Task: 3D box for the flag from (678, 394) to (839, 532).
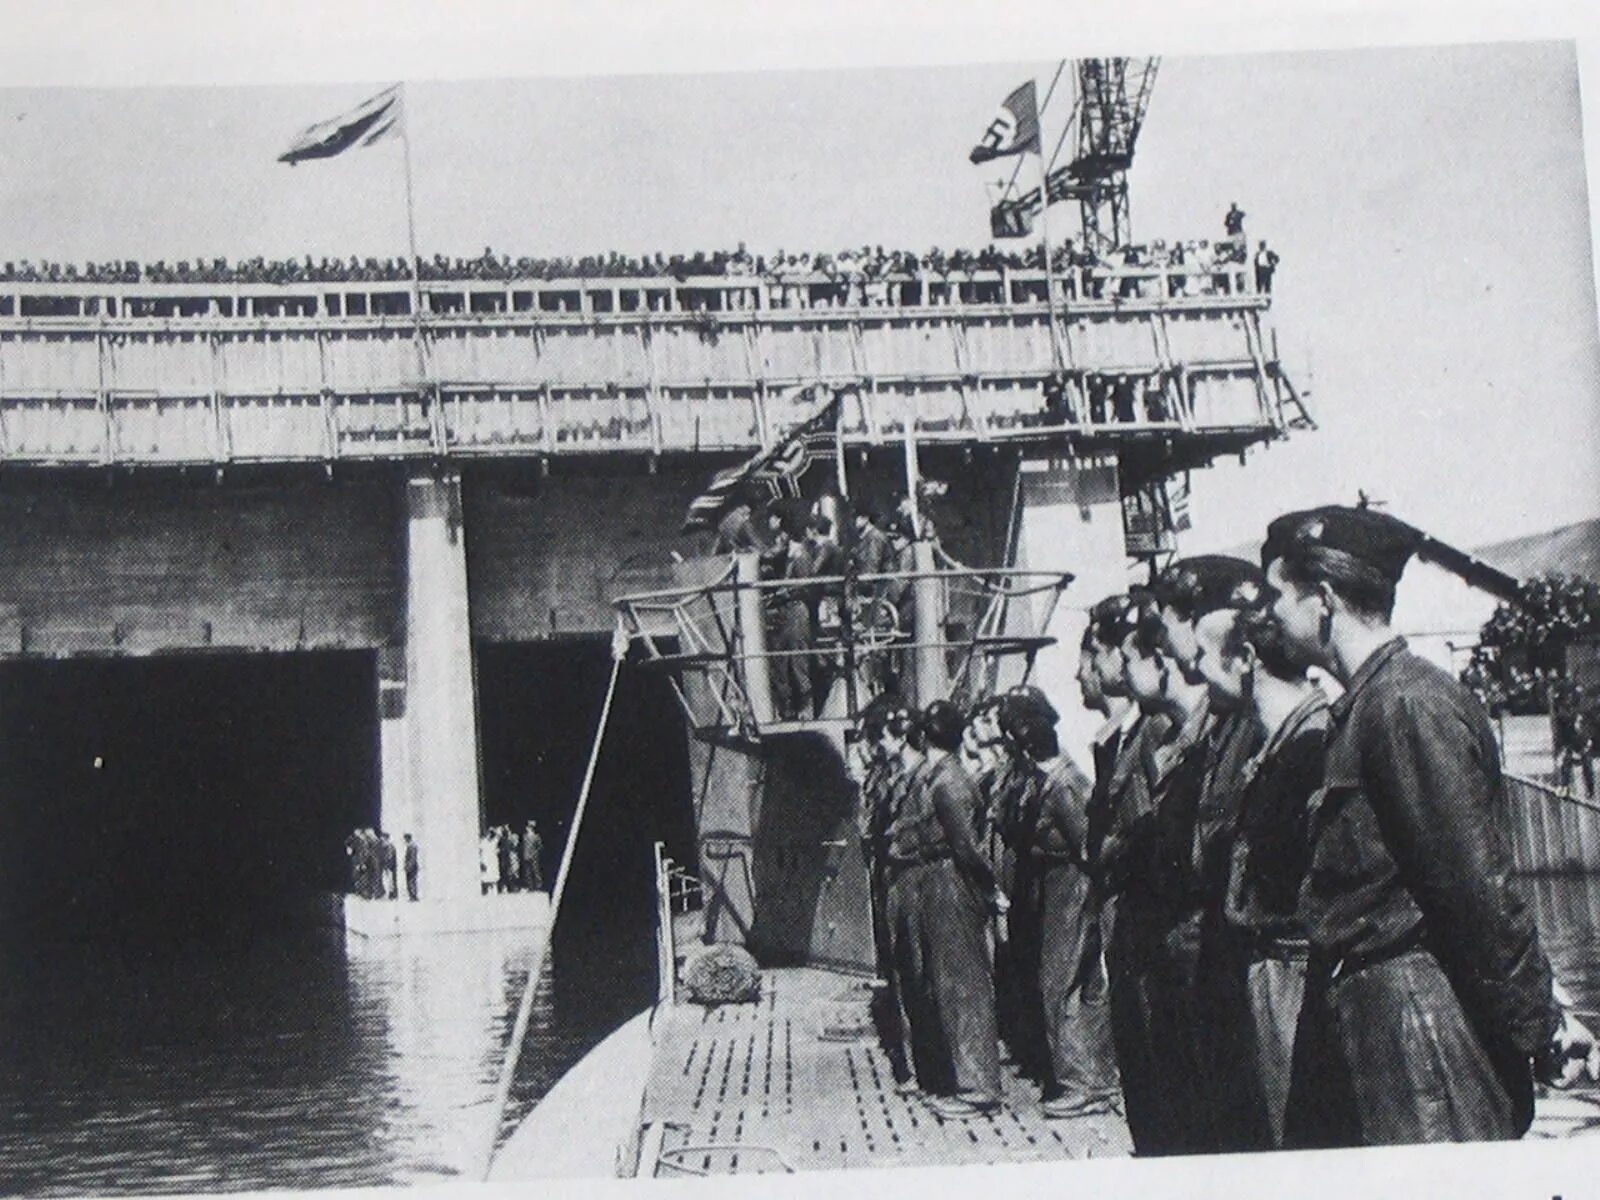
[{"bbox_3d":[-0.343,-1.282,25.738,1.927,0.824,0.282,-35,-3,-11],"label":"flag"}]
